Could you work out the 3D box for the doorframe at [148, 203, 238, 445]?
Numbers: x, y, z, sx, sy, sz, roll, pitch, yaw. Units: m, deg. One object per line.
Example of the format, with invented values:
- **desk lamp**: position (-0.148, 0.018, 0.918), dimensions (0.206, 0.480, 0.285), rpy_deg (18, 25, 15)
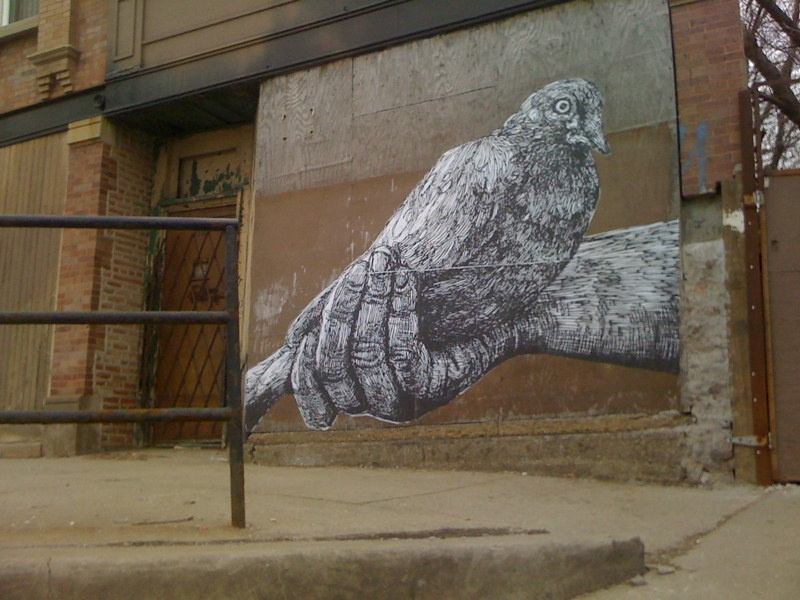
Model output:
- **doorframe**: position (-2.397, 0.251, 14.624), dimensions (1.024, 2.431, 0.079), rpy_deg (-5, 30, -18)
